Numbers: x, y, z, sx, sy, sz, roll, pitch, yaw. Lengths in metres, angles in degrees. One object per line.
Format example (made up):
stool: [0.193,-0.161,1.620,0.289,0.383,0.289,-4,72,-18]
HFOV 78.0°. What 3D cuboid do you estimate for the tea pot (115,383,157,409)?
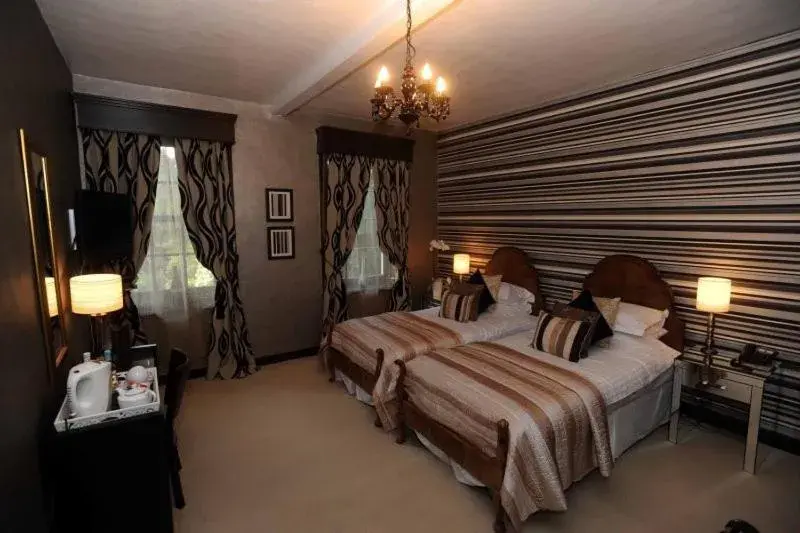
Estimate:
tea pot: [-2.251,1.081,4.190,0.240,0.142,0.238,2,5,0]

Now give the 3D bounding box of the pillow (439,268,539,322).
pillow: [1.056,0.394,6.524,0.877,0.300,0.756,-14,18,-25]

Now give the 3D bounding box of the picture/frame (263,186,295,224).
picture/frame: [-1.682,-0.853,6.690,0.490,0.575,0.054,-4,11,-32]

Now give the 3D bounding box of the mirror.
mirror: [-3.030,-0.122,4.205,0.185,2.054,0.756,-5,9,-31]

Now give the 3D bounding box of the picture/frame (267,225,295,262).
picture/frame: [-1.670,-0.336,6.755,0.484,0.565,0.040,-3,10,-33]

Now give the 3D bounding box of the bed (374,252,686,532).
bed: [1.416,0.824,5.232,2.772,1.931,2.132,-4,10,-27]

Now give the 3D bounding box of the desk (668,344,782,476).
desk: [3.707,1.400,5.236,1.160,1.045,1.173,-12,0,8]

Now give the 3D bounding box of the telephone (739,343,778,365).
telephone: [3.531,0.821,4.882,0.231,0.099,0.255,14,33,44]

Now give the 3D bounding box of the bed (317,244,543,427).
bed: [0.477,0.615,6.394,2.546,1.665,1.872,-2,7,-25]
